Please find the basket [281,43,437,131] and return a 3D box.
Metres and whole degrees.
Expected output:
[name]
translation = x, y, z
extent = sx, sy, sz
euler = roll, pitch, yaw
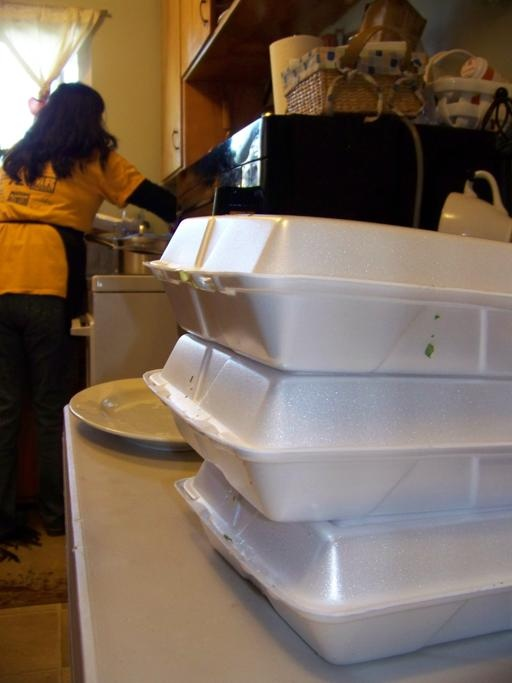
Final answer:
[basket]
translation = 0.157, -0.359, 0.889
extent = 0.196, 0.095, 0.261
euler = 1, -5, -10
